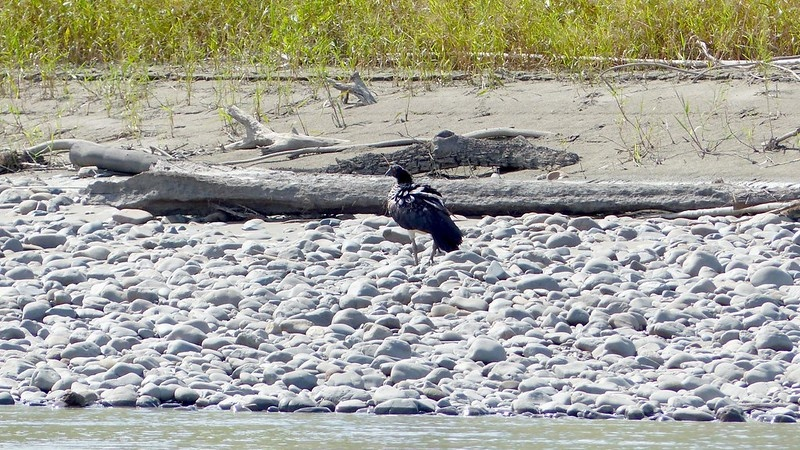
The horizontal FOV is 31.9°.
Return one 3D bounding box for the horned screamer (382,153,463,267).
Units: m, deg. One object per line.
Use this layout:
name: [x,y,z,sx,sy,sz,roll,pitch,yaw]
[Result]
horned screamer: [0.177,-0.100,13.300,0.511,0.880,0.668,-16,19,-13]
